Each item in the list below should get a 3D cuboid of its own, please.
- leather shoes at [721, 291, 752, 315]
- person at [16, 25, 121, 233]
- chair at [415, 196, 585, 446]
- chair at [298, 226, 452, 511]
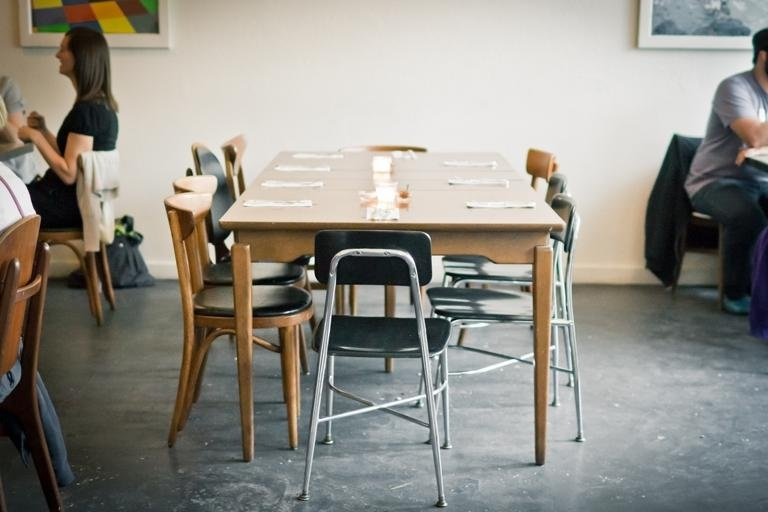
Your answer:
[{"bbox_3d":[2.565,0.345,4.774,0.178,0.110,0.228,6,14,32],"label":"leather shoes"},{"bbox_3d":[-2.142,-0.879,4.435,0.636,1.345,0.508,-8,14,-25],"label":"person"},{"bbox_3d":[0.607,0.276,3.937,1.139,1.742,1.089,1,6,5],"label":"chair"},{"bbox_3d":[-0.029,0.414,3.020,0.671,1.159,0.793,-1,13,4],"label":"chair"}]
